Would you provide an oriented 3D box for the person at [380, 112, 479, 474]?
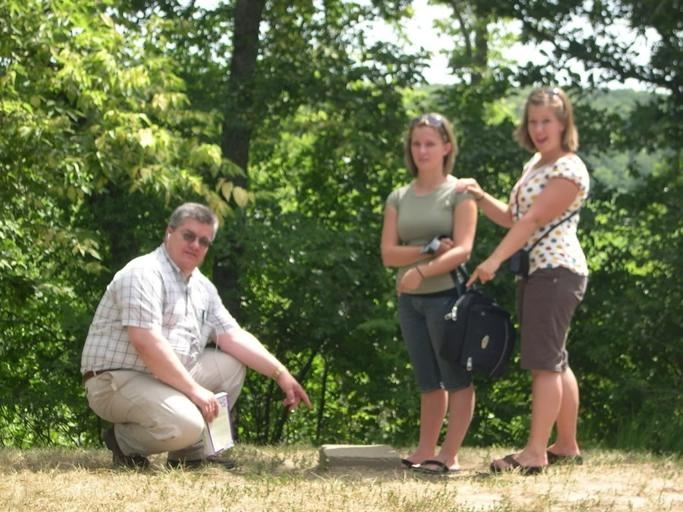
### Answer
[{"bbox_3d":[0.753,0.312,12.833,1.003,3.008,1.009,1,1,16],"label":"person"}]

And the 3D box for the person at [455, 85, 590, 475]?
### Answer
[{"bbox_3d":[1.668,0.196,12.299,0.981,3.320,1.091,0,11,-3],"label":"person"}]

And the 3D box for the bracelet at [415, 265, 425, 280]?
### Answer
[{"bbox_3d":[0.692,0.147,12.362,0.084,0.115,0.068,1,11,2],"label":"bracelet"}]

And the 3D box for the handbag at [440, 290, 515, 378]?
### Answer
[{"bbox_3d":[1.174,0.707,12.371,0.756,0.669,0.406,32,-16,-33],"label":"handbag"}]

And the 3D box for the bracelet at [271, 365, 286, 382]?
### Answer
[{"bbox_3d":[-0.571,1.062,12.621,0.146,0.113,0.137,7,-31,-9],"label":"bracelet"}]
